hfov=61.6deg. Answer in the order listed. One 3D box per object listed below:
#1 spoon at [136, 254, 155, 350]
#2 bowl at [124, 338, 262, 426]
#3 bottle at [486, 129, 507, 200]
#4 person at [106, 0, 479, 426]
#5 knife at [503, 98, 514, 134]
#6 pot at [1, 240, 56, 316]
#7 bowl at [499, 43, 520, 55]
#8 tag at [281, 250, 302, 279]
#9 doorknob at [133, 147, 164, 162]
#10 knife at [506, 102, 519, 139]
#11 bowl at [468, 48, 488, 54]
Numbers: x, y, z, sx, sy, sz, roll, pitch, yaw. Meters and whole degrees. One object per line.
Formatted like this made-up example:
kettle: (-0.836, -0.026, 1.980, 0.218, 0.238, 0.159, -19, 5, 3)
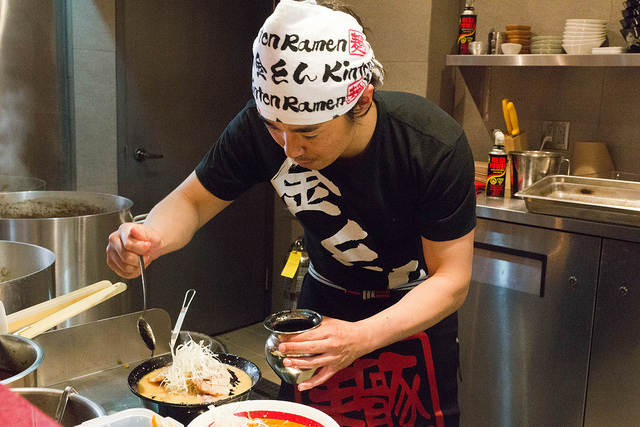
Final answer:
spoon: (-0.820, 0.403, 2.527, 0.079, 0.542, 0.074, -6, -8, 10)
bowl: (-0.397, 0.529, 1.760, 0.438, 0.159, 0.383, 6, 12, 34)
bottle: (1.078, -0.300, 3.272, 0.112, 0.401, 0.228, 2, 10, 19)
person: (-0.041, 0.067, 1.942, 1.072, 1.546, 0.808, 4, 11, 28)
knife: (1.194, -0.614, 3.407, 0.057, 0.274, 0.064, -1, 25, 25)
pot: (-1.137, 0.228, 2.095, 0.199, 0.174, 0.450, -6, 11, -28)
bowl: (1.139, -0.978, 3.218, 0.099, 0.058, 0.042, 3, 11, 20)
tag: (-0.157, 0.295, 3.079, 0.082, 0.155, 0.155, 23, 44, -6)
doorknob: (-1.256, -0.419, 3.887, 0.083, 0.078, 0.139, -17, 16, -41)
knife: (1.204, -0.582, 3.377, 0.059, 0.216, 0.148, 6, 12, 37)
bowl: (0.968, -0.998, 3.317, 0.063, 0.029, 0.066, -1, 9, 0)
